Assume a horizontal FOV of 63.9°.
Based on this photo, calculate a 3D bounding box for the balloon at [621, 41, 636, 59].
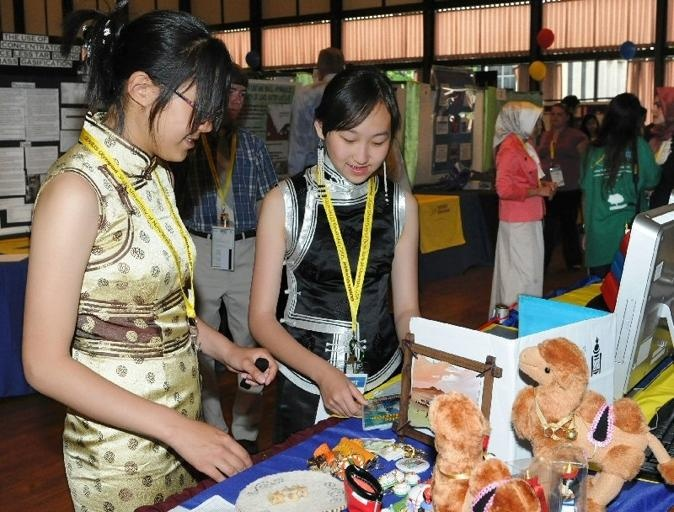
[{"bbox_3d":[4.708,-3.374,8.712,0.207,0.282,0.351,3,13,26],"label":"balloon"}]

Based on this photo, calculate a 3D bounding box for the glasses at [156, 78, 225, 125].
[{"bbox_3d":[-0.288,-0.308,1.073,0.101,0.048,0.087,22,17,12],"label":"glasses"}]

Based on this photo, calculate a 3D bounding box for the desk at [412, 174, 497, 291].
[{"bbox_3d":[1.302,-0.366,6.252,1.161,0.616,1.135,-20,28,-37],"label":"desk"}]

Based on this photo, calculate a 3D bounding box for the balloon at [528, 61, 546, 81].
[{"bbox_3d":[3.296,-3.065,8.795,0.211,0.294,0.382,4,13,29],"label":"balloon"}]

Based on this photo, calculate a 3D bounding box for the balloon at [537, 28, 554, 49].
[{"bbox_3d":[3.473,-3.663,8.932,0.214,0.313,0.343,5,13,34],"label":"balloon"}]
